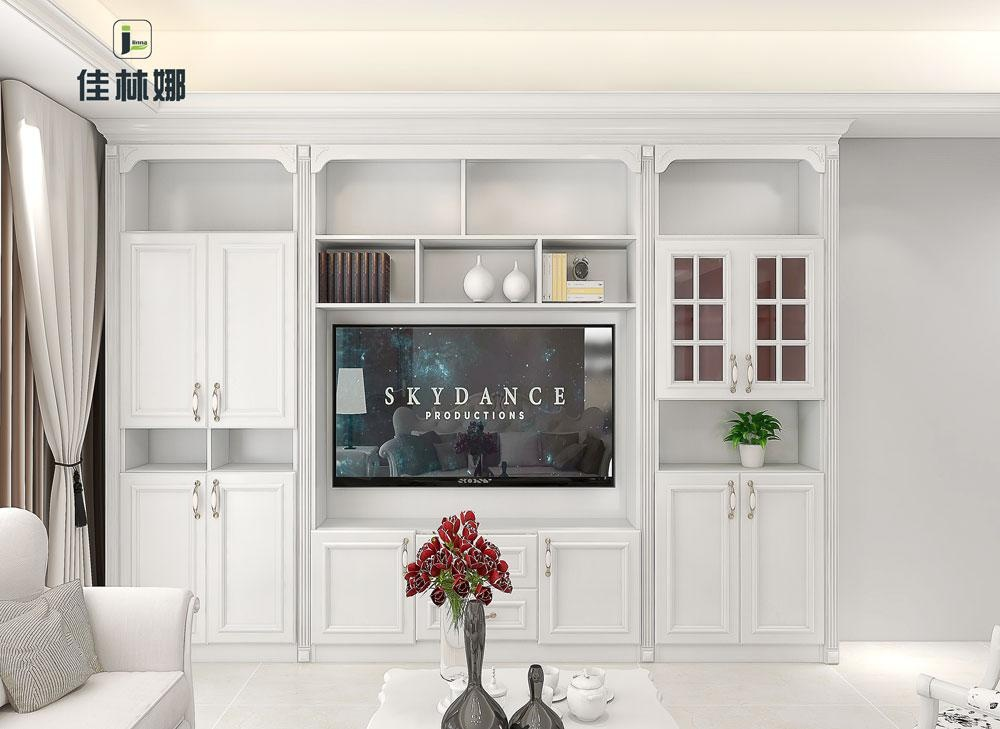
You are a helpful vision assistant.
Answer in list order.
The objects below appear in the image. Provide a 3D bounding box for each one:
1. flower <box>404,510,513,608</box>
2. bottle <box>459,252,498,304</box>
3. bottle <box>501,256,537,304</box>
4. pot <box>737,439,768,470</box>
[{"bbox_3d":[-0.170,0.872,4.385,0.477,0.499,0.468,-3,-10,24],"label":"flower"},{"bbox_3d":[-0.117,-0.515,5.567,0.277,0.355,0.252,0,2,0],"label":"bottle"},{"bbox_3d":[0.102,-0.510,5.683,0.245,0.314,0.235,-1,4,0],"label":"bottle"},{"bbox_3d":[1.511,0.543,5.586,0.144,0.107,0.151,1,-5,0],"label":"pot"}]
